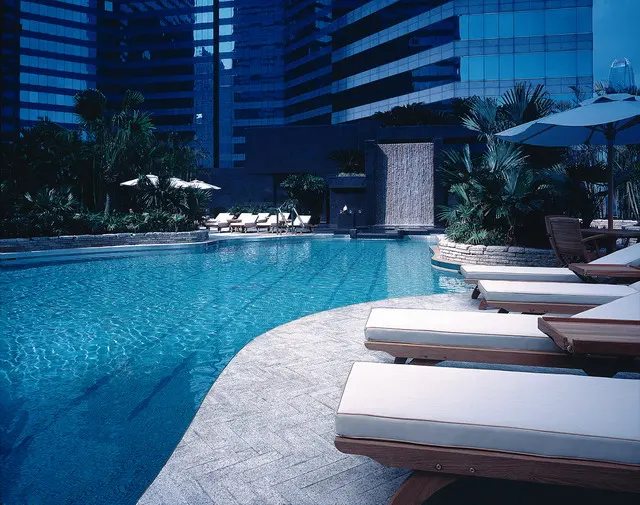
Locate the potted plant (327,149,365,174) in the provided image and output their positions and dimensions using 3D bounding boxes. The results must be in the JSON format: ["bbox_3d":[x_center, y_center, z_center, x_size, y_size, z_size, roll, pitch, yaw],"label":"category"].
[{"bbox_3d":[1.847,-6.055,30.649,2.153,1.155,2.021,1,2,7],"label":"potted plant"}]
